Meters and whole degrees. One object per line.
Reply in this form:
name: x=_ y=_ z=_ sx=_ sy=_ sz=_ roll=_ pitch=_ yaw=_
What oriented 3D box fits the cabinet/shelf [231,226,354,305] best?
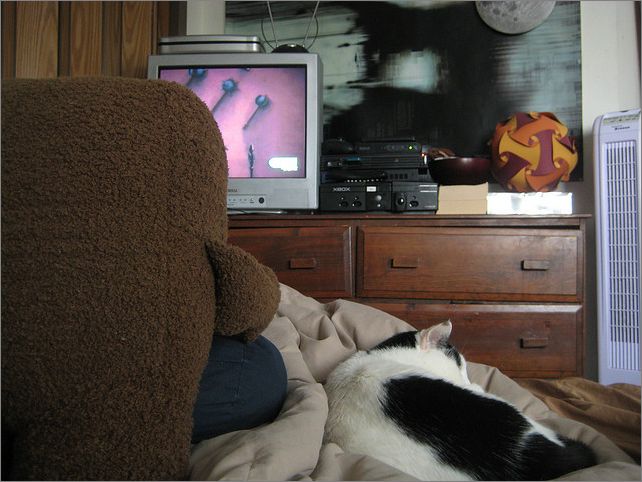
cabinet/shelf: x=-0.175 y=0.082 z=2.343 sx=0.557 sy=0.302 sz=0.296 roll=2 pitch=-8 yaw=-27

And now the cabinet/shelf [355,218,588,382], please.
cabinet/shelf: x=0.549 y=0.230 z=2.357 sx=0.875 sy=0.579 sz=0.470 roll=1 pitch=-4 yaw=-2

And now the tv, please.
tv: x=-0.448 y=-0.486 z=2.508 sx=0.842 sy=0.662 sz=0.426 roll=-12 pitch=21 yaw=-37
